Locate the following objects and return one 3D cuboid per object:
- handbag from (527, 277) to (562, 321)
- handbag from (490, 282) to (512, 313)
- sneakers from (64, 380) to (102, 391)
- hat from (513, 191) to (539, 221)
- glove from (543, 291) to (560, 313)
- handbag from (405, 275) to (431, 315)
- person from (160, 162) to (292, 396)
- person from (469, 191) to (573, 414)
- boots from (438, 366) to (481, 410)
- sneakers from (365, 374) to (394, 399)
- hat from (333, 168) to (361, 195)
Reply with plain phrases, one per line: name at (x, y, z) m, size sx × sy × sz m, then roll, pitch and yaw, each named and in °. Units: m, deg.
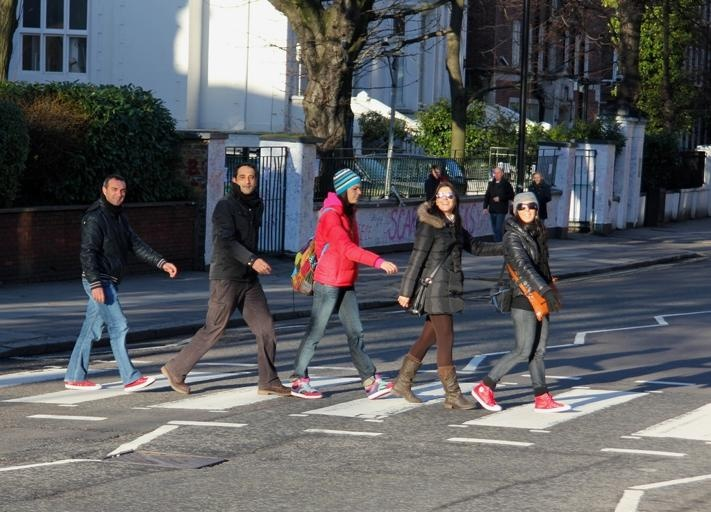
handbag at (2.074, 0.484, 11.538) m, size 0.309 × 0.390 × 0.135 m, roll -24°, pitch -2°, yaw -27°
handbag at (1.625, 0.470, 11.812) m, size 0.293 × 0.304 × 0.258 m, roll 3°, pitch 1°, yaw -13°
sneakers at (-3.218, 1.512, 12.321) m, size 0.405 × 0.140 × 0.146 m, roll 1°, pitch 0°, yaw -4°
hat at (1.908, -0.551, 11.836) m, size 0.252 × 0.299 × 0.334 m, roll -1°, pitch -7°, yaw 3°
glove at (2.166, 0.481, 11.540) m, size 0.200 × 0.230 × 0.065 m, roll -18°, pitch 17°, yaw -9°
handbag at (0.727, 0.446, 11.822) m, size 0.156 × 0.453 × 0.203 m, roll -5°, pitch 10°, yaw -43°
person at (-1.426, 0.275, 12.143) m, size 1.380 × 2.672 × 0.845 m, roll 2°, pitch 7°, yaw -4°
person at (1.909, 0.520, 11.764) m, size 0.943 × 2.452 × 0.512 m, roll 4°, pitch 7°, yaw 10°
boots at (1.170, 1.481, 11.867) m, size 0.482 × 0.458 × 0.222 m, roll -1°, pitch 2°, yaw 29°
sneakers at (0.335, 1.527, 12.139) m, size 0.396 × 0.250 × 0.184 m, roll -12°, pitch 30°, yaw -11°
hat at (-0.111, -0.855, 12.125) m, size 0.273 × 0.303 × 0.255 m, roll 1°, pitch 7°, yaw -7°
